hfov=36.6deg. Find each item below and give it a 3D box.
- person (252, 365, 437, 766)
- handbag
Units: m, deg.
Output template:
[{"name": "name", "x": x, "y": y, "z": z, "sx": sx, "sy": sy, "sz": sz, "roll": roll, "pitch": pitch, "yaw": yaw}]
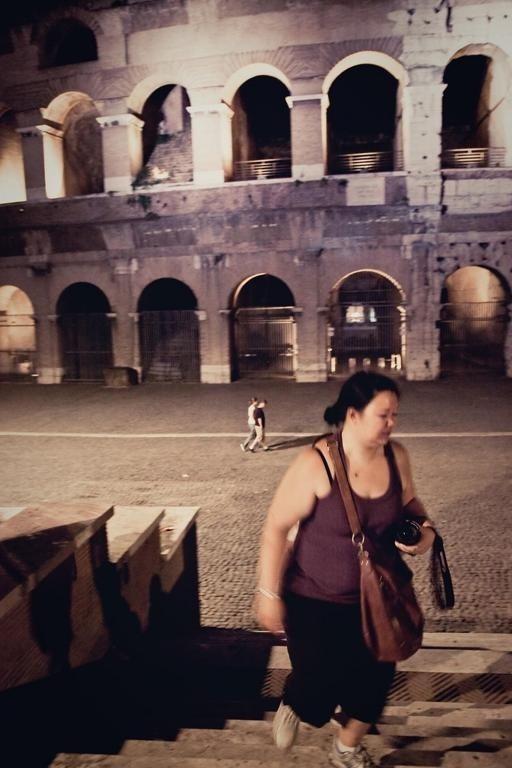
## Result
[{"name": "person", "x": 0.318, "y": 0.656, "z": 2.756, "sx": 0.617, "sy": 1.392, "sz": 0.377, "roll": 0, "pitch": 7, "yaw": 6}, {"name": "handbag", "x": 0.462, "y": 0.765, "z": 2.616, "sx": 0.247, "sy": 0.415, "sz": 0.171, "roll": -2, "pitch": 7, "yaw": -14}]
